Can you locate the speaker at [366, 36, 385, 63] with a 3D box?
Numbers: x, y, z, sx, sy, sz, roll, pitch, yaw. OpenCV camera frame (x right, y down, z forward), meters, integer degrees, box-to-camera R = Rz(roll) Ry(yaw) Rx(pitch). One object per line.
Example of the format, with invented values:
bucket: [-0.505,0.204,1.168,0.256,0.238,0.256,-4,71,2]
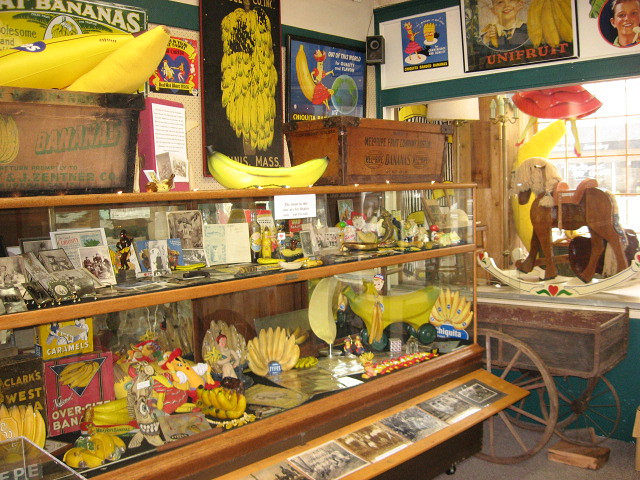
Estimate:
speaker: [0.518,-1.775,4.546,0.184,0.246,0.123,-4,8,-1]

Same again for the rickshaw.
rickshaw: [1.868,1.243,4.529,1.228,1.269,1.710,-3,-1,-43]

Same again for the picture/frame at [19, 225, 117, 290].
picture/frame: [-1.139,0.085,2.356,0.250,0.290,0.123,-8,9,-30]
